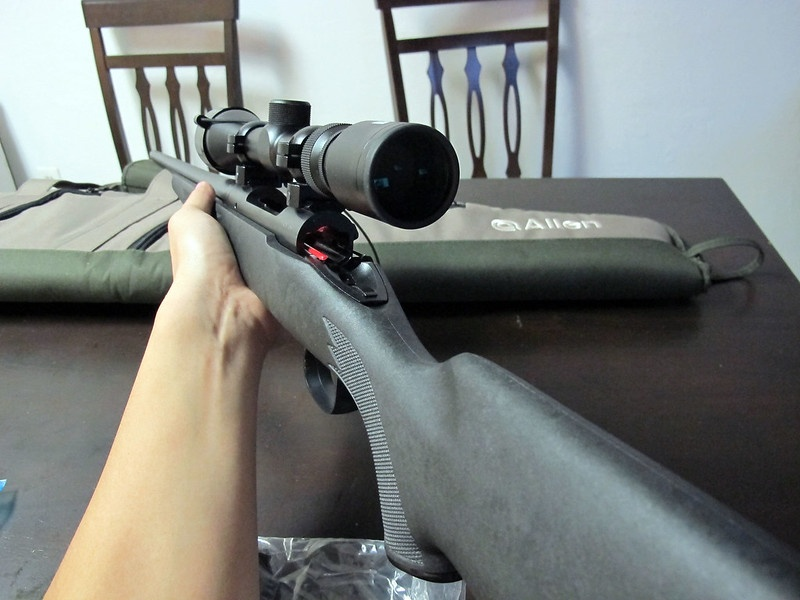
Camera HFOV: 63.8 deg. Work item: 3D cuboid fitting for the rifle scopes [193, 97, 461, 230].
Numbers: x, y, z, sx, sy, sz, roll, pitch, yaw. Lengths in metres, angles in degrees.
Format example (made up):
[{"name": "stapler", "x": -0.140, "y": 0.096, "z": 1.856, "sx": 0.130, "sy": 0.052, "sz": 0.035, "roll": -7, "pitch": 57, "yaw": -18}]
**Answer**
[{"name": "rifle scopes", "x": -0.141, "y": -0.230, "z": 0.981, "sx": 0.152, "sy": 0.156, "sz": 0.552, "roll": -19, "pitch": 22, "yaw": -28}]
